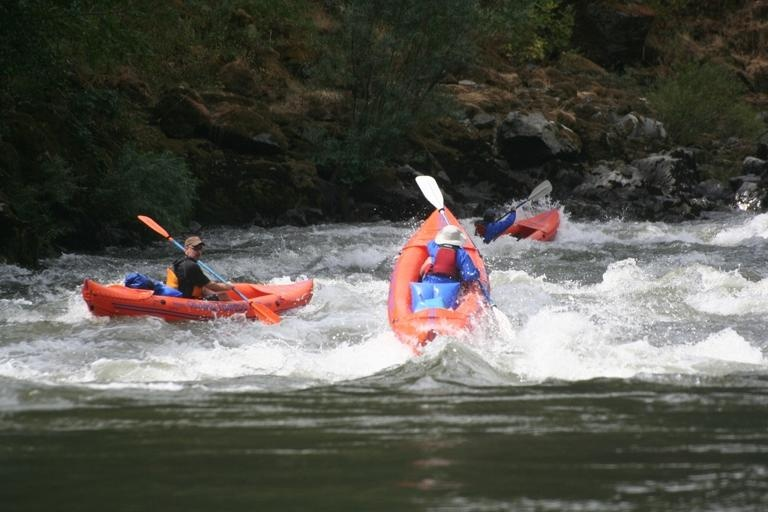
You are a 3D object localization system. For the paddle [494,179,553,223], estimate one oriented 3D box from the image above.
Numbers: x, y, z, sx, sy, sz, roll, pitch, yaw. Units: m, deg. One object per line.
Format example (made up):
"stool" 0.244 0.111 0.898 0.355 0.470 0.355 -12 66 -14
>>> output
"paddle" 4.506 -1.694 36.514 2.955 0.227 0.407 -32 83 -12

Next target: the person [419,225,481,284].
"person" 1.617 0.052 27.374 0.937 0.422 1.641 2 83 5

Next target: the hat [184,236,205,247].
"hat" -4.628 -0.351 27.755 0.491 0.309 0.213 -3 82 28

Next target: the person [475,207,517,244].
"person" 3.305 -0.921 33.153 1.433 1.221 0.459 -29 70 12
